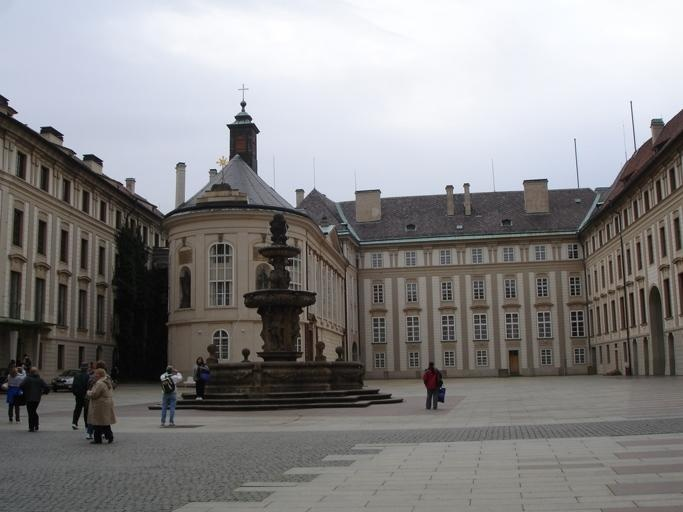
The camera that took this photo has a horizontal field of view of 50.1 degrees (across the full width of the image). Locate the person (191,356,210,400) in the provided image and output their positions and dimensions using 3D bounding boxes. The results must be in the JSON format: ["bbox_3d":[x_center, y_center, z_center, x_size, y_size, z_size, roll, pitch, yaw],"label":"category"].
[{"bbox_3d":[-5.253,4.706,27.351,0.506,1.381,0.958,-1,-9,-10],"label":"person"}]

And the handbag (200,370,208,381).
[{"bbox_3d":[-5.108,4.491,27.249,0.145,0.367,0.469,-7,-10,27],"label":"handbag"}]

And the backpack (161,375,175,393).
[{"bbox_3d":[-4.934,3.653,20.719,0.475,0.664,0.388,-2,-23,-12],"label":"backpack"}]

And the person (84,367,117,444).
[{"bbox_3d":[-5.431,3.369,16.415,0.585,1.690,1.203,1,-10,-19],"label":"person"}]
